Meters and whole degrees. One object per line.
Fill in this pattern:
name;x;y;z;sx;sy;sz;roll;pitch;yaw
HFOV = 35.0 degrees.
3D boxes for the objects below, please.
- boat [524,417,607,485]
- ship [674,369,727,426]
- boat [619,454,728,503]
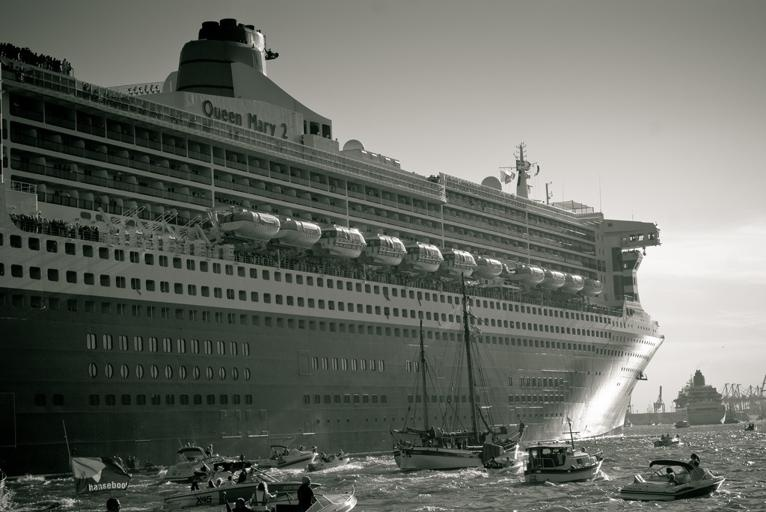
boat;9.853;11.929;71.443;6.429;3.401;2.280;-3;1;-31
ship;45.019;19.708;177.153;8.890;4.898;3.119;3;6;-30
boat;15.104;11.724;63.931;5.346;2.302;1.569;0;-17;-14
